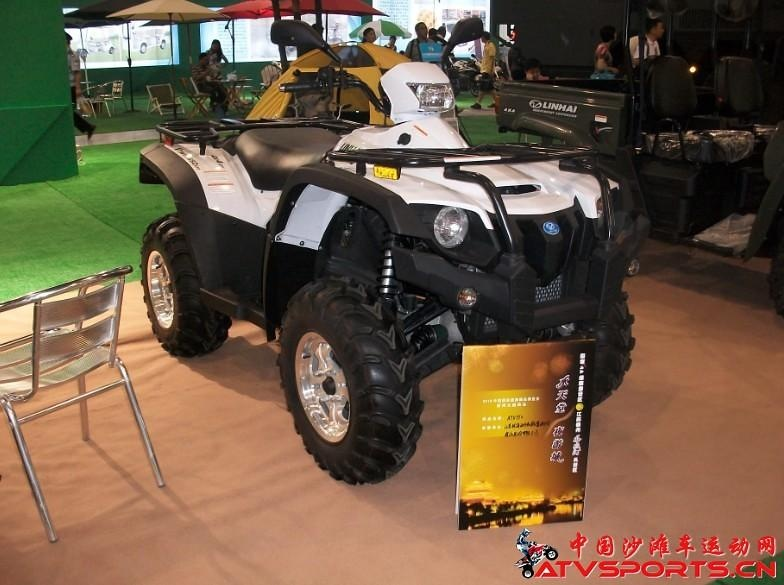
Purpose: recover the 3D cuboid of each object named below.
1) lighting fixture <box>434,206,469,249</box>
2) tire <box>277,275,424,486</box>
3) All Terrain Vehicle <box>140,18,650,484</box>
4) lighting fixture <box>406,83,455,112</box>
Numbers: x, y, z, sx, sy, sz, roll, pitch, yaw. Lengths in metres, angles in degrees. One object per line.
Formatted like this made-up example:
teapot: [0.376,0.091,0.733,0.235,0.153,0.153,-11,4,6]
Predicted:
lighting fixture: [0.273,-0.287,2.596,0.192,0.170,0.060,-11,7,-2]
tire: [-0.190,0.443,2.865,0.268,0.812,0.876,-9,34,-37]
All Terrain Vehicle: [-0.220,-0.356,4.059,2.106,1.947,3.502,-10,20,-34]
lighting fixture: [0.228,-1.064,3.209,0.171,0.083,0.216,-17,31,-34]
